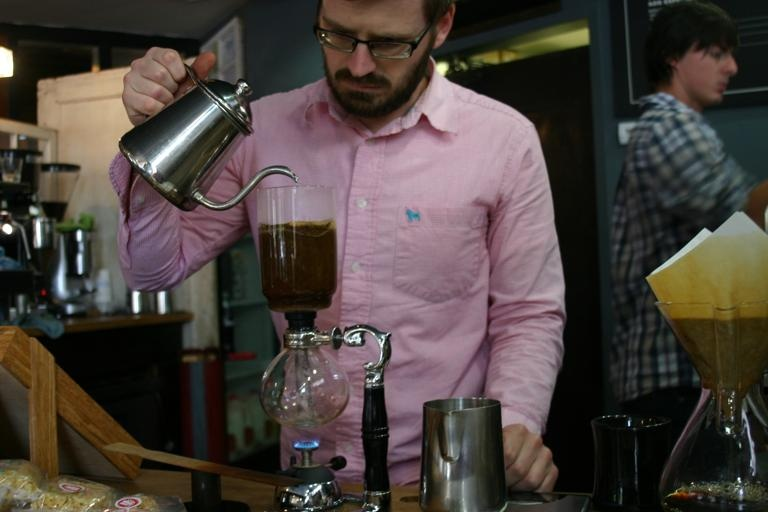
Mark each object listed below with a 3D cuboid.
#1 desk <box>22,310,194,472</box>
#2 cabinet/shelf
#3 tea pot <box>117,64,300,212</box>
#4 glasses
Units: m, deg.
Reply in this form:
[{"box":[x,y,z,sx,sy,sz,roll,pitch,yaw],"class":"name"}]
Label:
[{"box":[-1.439,0.687,3.950,0.865,0.648,0.916,3,-4,-40],"class":"desk"},{"box":[-0.924,0.644,4.946,0.405,1.313,0.276,-1,-5,-12],"class":"cabinet/shelf"},{"box":[-0.412,-0.284,1.831,0.275,0.399,0.283,-40,-5,-4],"class":"tea pot"},{"box":[-0.027,-0.549,1.907,0.305,0.095,0.083,-1,-2,-2],"class":"glasses"}]
